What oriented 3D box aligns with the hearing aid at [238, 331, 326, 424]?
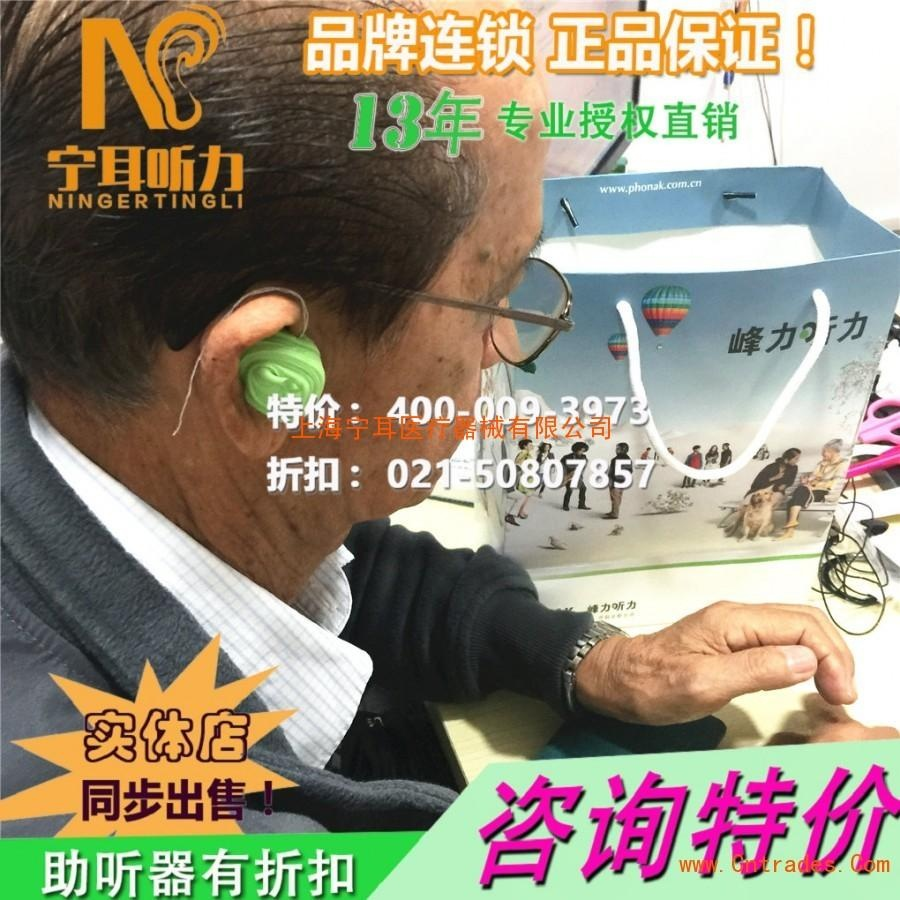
[{"bbox_3d":[-0.161,-0.065,0.838,0.073,0.076,0.019,-28,58,19],"label":"hearing aid"}]
